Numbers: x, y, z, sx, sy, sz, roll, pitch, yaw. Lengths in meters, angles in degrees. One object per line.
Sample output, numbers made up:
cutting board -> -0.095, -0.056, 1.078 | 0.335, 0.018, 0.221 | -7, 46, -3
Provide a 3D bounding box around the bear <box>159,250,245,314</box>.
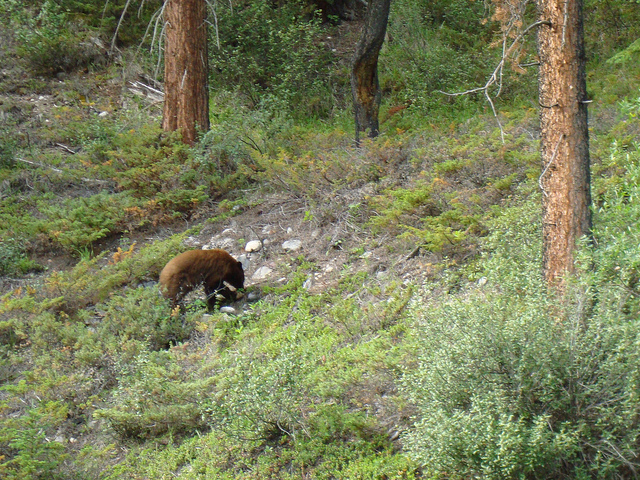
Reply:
bear -> -1.916, 0.695, 12.954 | 1.337, 1.009, 0.396 | -12, 19, -18
